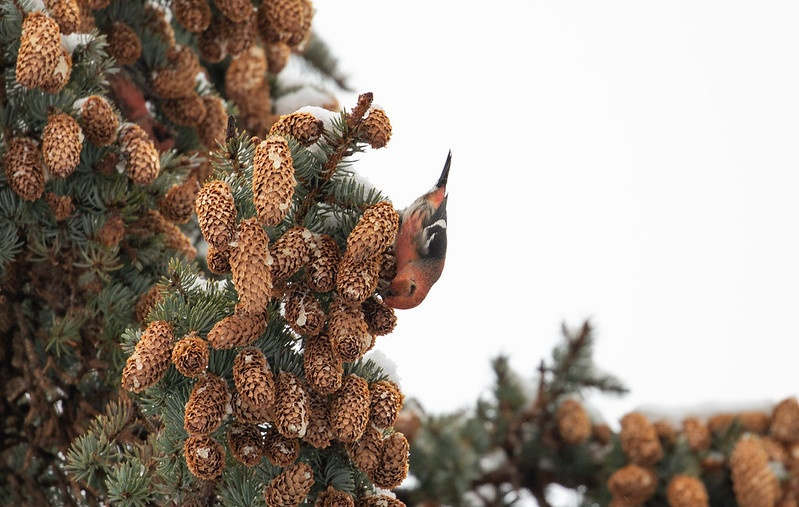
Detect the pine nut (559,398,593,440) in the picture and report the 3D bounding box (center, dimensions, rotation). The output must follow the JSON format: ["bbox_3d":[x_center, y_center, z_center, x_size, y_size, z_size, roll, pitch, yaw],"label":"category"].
[{"bbox_3d":[0.325,0.316,2.248,0.056,0.080,0.042,-9,-3,12],"label":"pine nut"}]

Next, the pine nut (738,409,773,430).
[{"bbox_3d":[0.624,0.295,2.106,0.037,0.023,0.034,-9,-35,23],"label":"pine nut"}]
